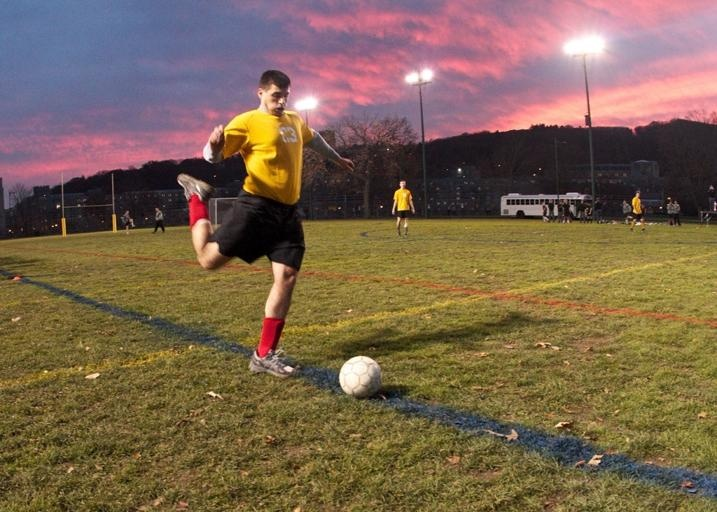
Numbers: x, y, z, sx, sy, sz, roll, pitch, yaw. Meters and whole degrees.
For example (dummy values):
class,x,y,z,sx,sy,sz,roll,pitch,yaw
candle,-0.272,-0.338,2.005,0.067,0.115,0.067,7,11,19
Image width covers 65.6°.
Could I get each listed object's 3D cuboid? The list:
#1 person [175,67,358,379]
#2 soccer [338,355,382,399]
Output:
class,x,y,z,sx,sy,sz,roll,pitch,yaw
person,-0.882,-0.538,5.194,1.102,3.048,1.394,0,1,-33
soccer,0.005,0.947,4.470,0.304,0.300,0.311,17,25,35
